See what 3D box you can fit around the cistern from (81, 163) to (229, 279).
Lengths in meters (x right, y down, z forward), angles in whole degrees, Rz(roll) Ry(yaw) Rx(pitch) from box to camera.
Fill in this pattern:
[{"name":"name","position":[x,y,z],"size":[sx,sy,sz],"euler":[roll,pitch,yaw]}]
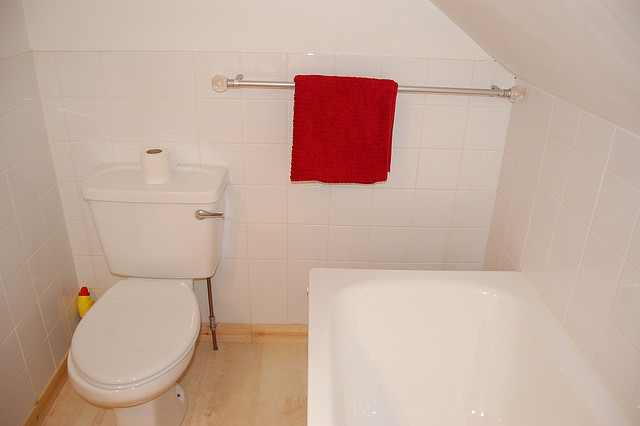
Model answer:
[{"name":"cistern","position":[-0.810,0.060,2.337],"size":[0.693,0.511,0.407],"euler":[4,25,-9]}]

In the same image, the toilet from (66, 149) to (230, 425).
[{"name":"toilet","position":[-0.806,0.243,2.063],"size":[0.663,0.921,0.824],"euler":[1,23,0]}]
